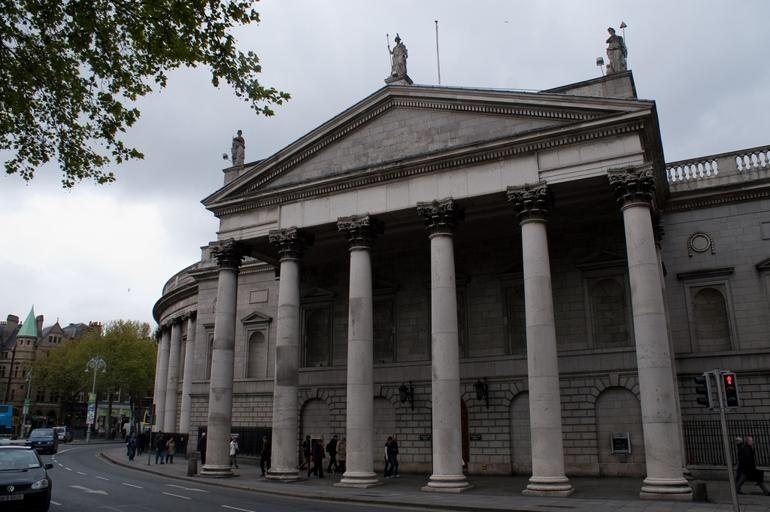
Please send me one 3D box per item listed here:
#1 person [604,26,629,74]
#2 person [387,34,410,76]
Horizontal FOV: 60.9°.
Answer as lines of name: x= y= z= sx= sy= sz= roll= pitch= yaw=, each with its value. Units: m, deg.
person: x=11.949 y=-10.647 z=33.916 sx=0.982 sy=2.786 sz=1.463 roll=-9 pitch=-21 yaw=21
person: x=0.772 y=-11.052 z=36.691 sx=0.846 sy=2.380 sz=0.932 roll=1 pitch=-20 yaw=-6
